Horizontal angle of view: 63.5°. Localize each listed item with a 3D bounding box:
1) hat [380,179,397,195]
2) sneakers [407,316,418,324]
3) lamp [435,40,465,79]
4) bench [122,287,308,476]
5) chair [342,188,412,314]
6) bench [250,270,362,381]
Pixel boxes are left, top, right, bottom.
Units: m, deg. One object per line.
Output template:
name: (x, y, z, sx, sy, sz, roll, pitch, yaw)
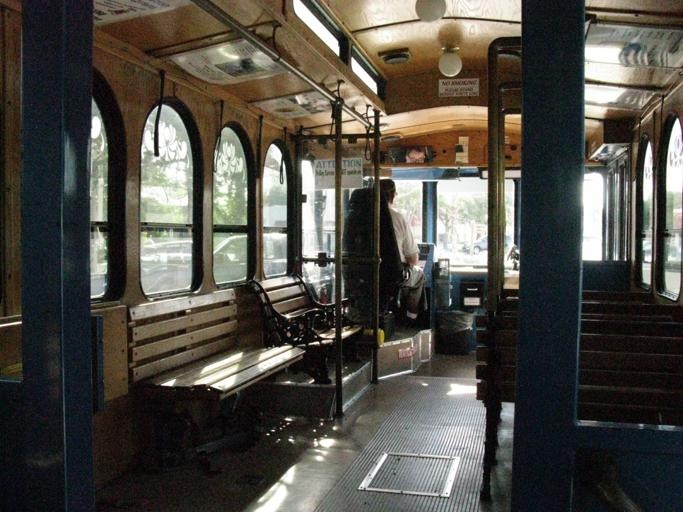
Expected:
hat: (0.643, -0.946, 7.603, 0.180, 0.249, 0.249, 3, 9, 16)
sneakers: (1.094, 0.947, 8.445, 0.150, 0.124, 0.162, -1, 4, 5)
lamp: (1.212, -2.131, 6.134, 0.241, 0.306, 0.251, 1, -4, 22)
bench: (-1.094, 1.046, 5.246, 0.830, 1.515, 2.276, 2, -2, 9)
chair: (0.405, -0.040, 7.058, 0.701, 1.636, 1.432, 1, 2, 17)
bench: (-0.378, 0.865, 6.892, 1.013, 1.148, 1.799, -2, -1, 10)
